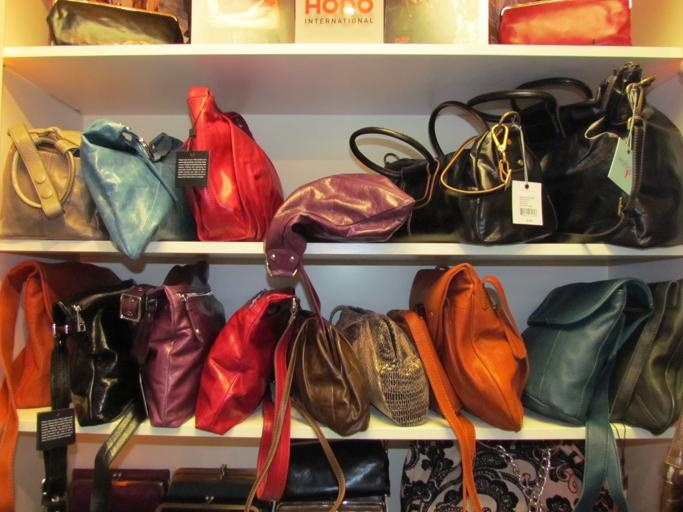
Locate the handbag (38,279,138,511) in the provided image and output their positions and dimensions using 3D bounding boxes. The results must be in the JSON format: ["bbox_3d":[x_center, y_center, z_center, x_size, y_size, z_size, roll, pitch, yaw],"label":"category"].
[{"bbox_3d":[-0.716,0.356,1.804,0.175,0.543,0.345,3,7,22],"label":"handbag"}]

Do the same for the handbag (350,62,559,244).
[{"bbox_3d":[0.310,-0.187,1.822,0.366,0.433,0.554,-3,-1,-18],"label":"handbag"}]

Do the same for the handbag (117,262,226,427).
[{"bbox_3d":[-0.445,0.195,1.902,0.251,0.448,0.526,3,7,-4],"label":"handbag"}]

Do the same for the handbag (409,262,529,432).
[{"bbox_3d":[0.326,0.256,1.776,0.144,0.283,0.337,-15,11,-3],"label":"handbag"}]

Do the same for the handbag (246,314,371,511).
[{"bbox_3d":[-0.102,0.435,1.789,0.189,0.530,0.344,6,11,-11],"label":"handbag"}]

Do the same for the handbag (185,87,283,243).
[{"bbox_3d":[-0.297,-0.242,1.812,0.174,0.315,0.364,-10,5,6],"label":"handbag"}]

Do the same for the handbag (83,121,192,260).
[{"bbox_3d":[-0.526,-0.161,1.728,0.124,0.301,0.335,-7,4,18],"label":"handbag"}]
